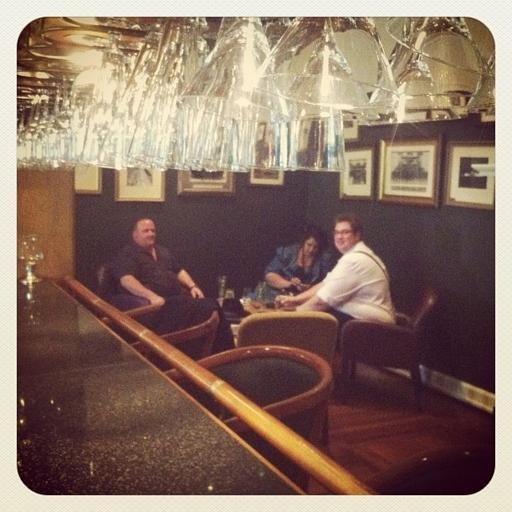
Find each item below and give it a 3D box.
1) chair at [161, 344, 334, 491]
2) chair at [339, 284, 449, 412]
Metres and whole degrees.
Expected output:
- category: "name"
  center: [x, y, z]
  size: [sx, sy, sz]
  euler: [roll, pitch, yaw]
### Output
- category: "chair"
  center: [-0.029, 0.374, 1.381]
  size: [0.360, 0.442, 0.354]
  euler: [-1, 2, -28]
- category: "chair"
  center: [0.397, 0.232, 1.419]
  size: [0.261, 0.342, 0.265]
  euler: [2, 15, 14]
